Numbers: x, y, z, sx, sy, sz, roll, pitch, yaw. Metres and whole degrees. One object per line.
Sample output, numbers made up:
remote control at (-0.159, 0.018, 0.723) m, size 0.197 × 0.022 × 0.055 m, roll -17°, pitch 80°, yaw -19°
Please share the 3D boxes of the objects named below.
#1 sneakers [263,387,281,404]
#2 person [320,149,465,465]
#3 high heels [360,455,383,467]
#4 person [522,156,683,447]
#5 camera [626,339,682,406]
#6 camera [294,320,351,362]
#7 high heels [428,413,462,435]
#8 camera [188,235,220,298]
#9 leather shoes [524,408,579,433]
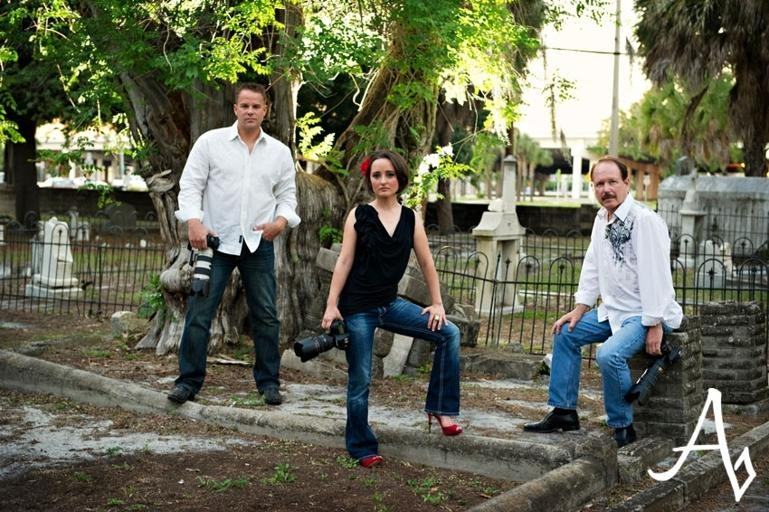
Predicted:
sneakers at (-1.116, 1.389, 6.870) m, size 0.191 × 0.158 × 0.183 m, roll 0°, pitch 1°, yaw -11°
person at (0.050, 0.422, 5.952) m, size 1.152 × 2.676 × 0.367 m, roll 0°, pitch 1°, yaw -6°
high heels at (-0.108, 1.718, 5.790) m, size 0.155 × 0.056 × 0.087 m, roll -16°, pitch 5°, yaw 36°
person at (2.086, 0.392, 6.299) m, size 1.116 × 2.598 × 0.729 m, roll 1°, pitch 1°, yaw 21°
camera at (2.456, 1.059, 6.291) m, size 0.202 × 0.276 × 0.687 m, roll 11°, pitch 51°, yaw 47°
camera at (-0.498, 0.754, 5.860) m, size 0.452 × 0.260 × 0.299 m, roll -18°, pitch 29°, yaw -38°
high heels at (0.491, 1.475, 6.072) m, size 0.376 × 0.165 × 0.130 m, roll -1°, pitch 3°, yaw 29°
camera at (-1.760, 0.099, 6.706) m, size 0.309 × 0.593 × 0.246 m, roll 0°, pitch 1°, yaw 2°
leather shoes at (1.539, 1.495, 6.302) m, size 0.512 × 0.219 × 0.197 m, roll 1°, pitch -3°, yaw 4°
